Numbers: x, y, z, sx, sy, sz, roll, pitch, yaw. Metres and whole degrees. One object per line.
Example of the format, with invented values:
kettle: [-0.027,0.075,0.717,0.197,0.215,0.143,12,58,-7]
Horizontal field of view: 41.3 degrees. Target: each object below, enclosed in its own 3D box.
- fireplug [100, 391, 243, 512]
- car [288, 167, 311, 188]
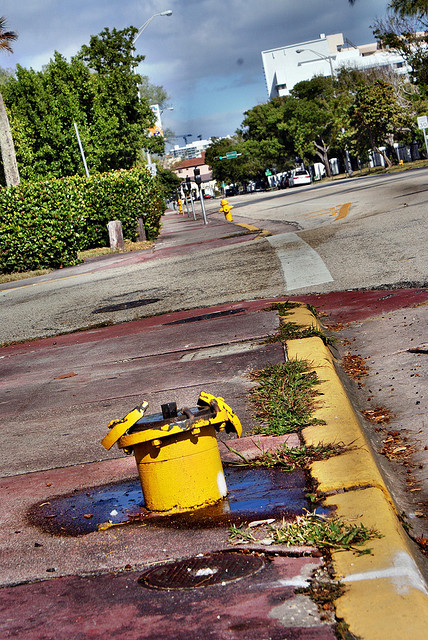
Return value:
fireplug: [-0.191,0.578,2.497,0.629,0.439,0.507,-7,-10,-26]
car: [10.918,-18.458,73.518,1.464,2.373,5.439,-13,7,-4]
